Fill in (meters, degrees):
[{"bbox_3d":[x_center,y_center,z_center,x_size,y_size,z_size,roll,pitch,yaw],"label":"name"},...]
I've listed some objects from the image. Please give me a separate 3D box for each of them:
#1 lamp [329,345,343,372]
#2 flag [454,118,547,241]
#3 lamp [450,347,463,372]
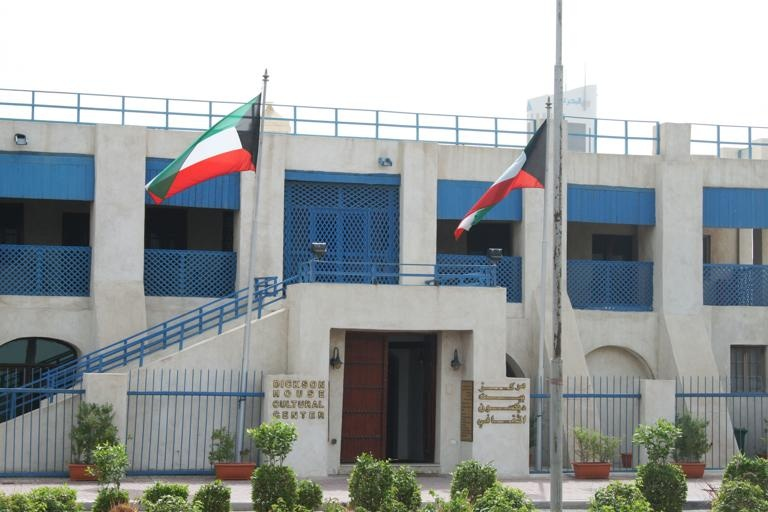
[{"bbox_3d":[-1.358,3.098,59.531,0.358,0.705,0.328,0,-11,3],"label":"lamp"},{"bbox_3d":[3.982,-2.473,59.992,2.388,2.953,0.943,-1,-11,6],"label":"flag"},{"bbox_3d":[2.340,3.173,59.911,0.392,0.682,0.201,0,-11,1],"label":"lamp"}]
